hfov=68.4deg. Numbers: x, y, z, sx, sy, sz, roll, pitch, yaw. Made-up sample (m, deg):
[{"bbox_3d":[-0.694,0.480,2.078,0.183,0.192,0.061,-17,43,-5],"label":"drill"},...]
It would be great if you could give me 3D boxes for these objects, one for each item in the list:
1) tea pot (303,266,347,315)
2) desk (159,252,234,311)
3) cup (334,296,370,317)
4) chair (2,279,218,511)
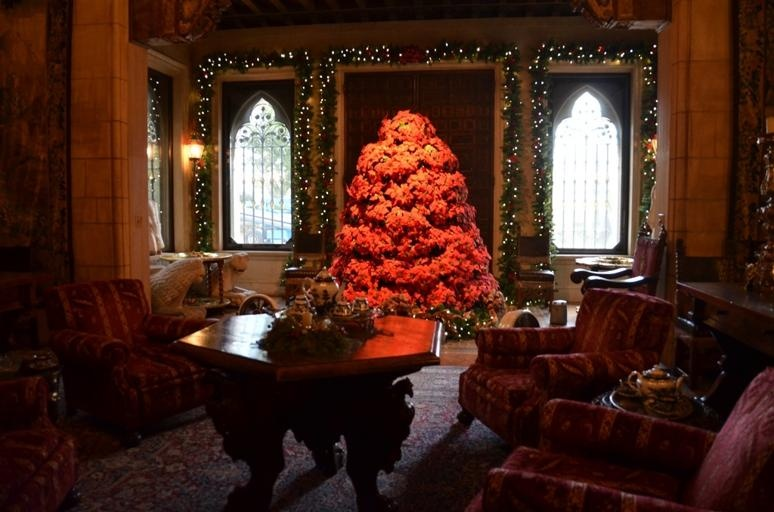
[{"bbox_3d":[-0.430,0.243,4.149,0.340,0.347,0.252,-1,3,14],"label":"tea pot"},{"bbox_3d":[-2.313,0.290,6.767,0.917,0.547,0.932,-3,4,-23],"label":"desk"},{"bbox_3d":[-0.241,0.354,3.953,0.229,0.112,0.233,0,8,0],"label":"cup"},{"bbox_3d":[-1.949,0.888,4.334,1.266,1.157,1.201,6,11,31],"label":"chair"}]
